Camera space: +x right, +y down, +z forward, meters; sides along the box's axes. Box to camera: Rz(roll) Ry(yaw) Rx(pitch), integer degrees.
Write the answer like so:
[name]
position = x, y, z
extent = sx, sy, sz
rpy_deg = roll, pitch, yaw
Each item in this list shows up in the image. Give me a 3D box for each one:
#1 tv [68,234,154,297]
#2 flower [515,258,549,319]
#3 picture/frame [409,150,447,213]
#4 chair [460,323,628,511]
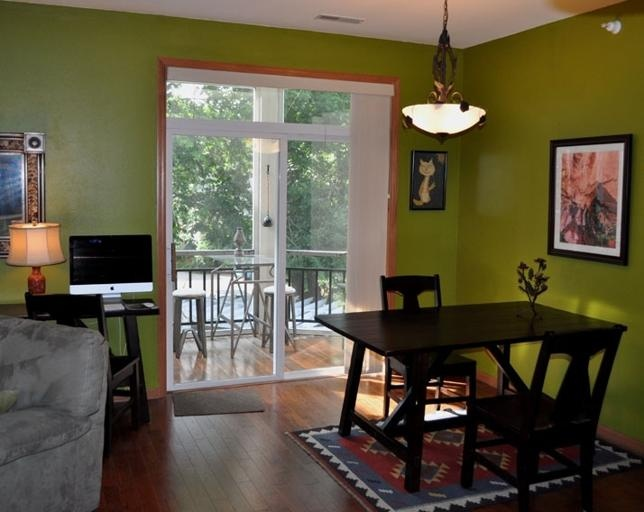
[tv]
position = -1.692, 0.067, 4.267
extent = 0.437, 0.364, 0.144
rpy_deg = -1, 4, -16
[flower]
position = 1.657, 0.251, 4.209
extent = 0.352, 0.541, 0.286
rpy_deg = 0, 5, 22
[picture/frame]
position = 1.027, -0.753, 5.272
extent = 0.533, 0.769, 0.057
rpy_deg = -2, 6, -27
[chair]
position = 1.246, 0.907, 3.077
extent = 0.848, 1.087, 0.491
rpy_deg = 4, 8, 22
